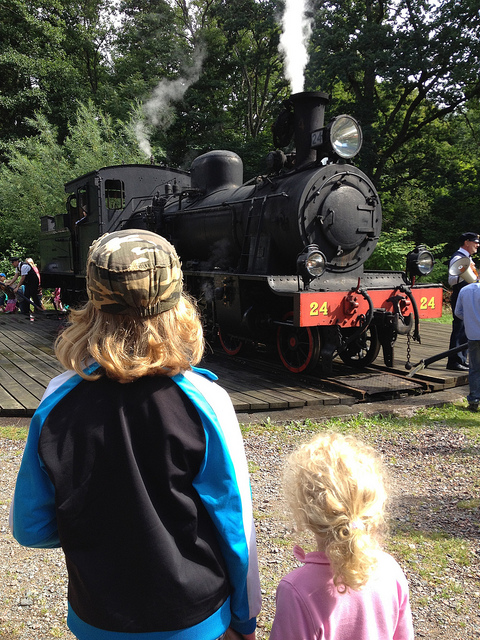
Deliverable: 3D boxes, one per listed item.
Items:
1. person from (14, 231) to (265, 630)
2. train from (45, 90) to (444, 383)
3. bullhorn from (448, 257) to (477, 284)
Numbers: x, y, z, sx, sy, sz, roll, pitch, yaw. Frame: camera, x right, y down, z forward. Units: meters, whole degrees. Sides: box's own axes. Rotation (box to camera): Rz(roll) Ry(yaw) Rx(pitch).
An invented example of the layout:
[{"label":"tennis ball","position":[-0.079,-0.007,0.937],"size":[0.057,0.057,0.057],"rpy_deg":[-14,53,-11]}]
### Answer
[{"label":"person","position":[-0.243,0.282,1.309],"size":[0.470,0.969,0.443],"rpy_deg":[11,15,43]},{"label":"train","position":[-0.818,-1.281,8.652],"size":[2.325,2.885,7.742],"rpy_deg":[-11,12,-37]},{"label":"bullhorn","position":[2.405,-0.561,6.061],"size":[0.314,0.291,0.206],"rpy_deg":[-11,17,13]}]
